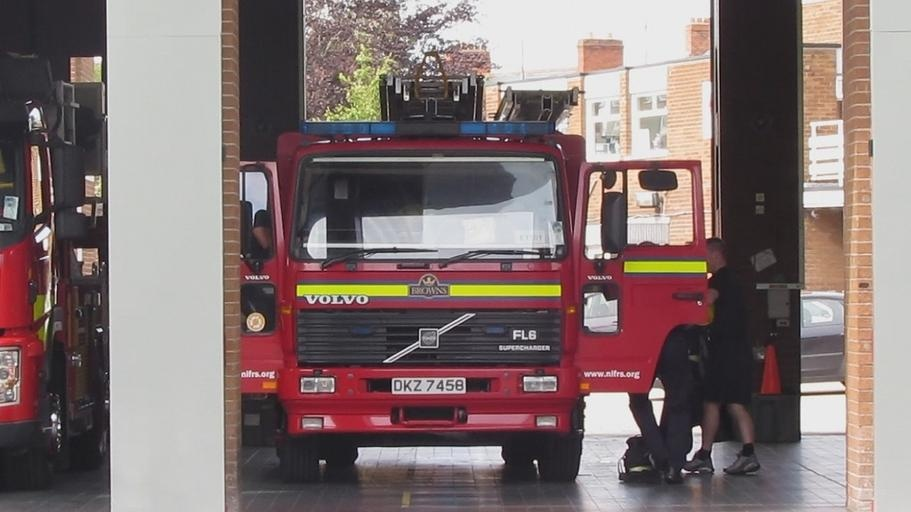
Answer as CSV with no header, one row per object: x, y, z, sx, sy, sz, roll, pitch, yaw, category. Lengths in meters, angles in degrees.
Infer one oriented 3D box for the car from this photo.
6.625,1.444,24.985,0.706,1.605,0.952,1,7,11,car
